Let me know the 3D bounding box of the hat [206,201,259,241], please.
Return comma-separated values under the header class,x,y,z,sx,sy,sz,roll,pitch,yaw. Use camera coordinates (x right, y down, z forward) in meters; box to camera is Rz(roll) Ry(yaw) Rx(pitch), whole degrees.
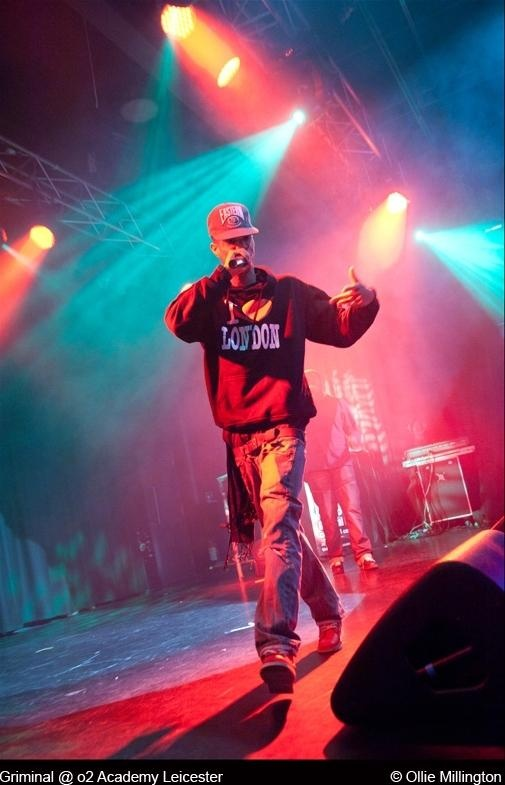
class,x,y,z,sx,sy,sz,roll,pitch,yaw
hat,-0.086,-0.688,1.874,0.140,0.119,0.194,-12,24,-16
